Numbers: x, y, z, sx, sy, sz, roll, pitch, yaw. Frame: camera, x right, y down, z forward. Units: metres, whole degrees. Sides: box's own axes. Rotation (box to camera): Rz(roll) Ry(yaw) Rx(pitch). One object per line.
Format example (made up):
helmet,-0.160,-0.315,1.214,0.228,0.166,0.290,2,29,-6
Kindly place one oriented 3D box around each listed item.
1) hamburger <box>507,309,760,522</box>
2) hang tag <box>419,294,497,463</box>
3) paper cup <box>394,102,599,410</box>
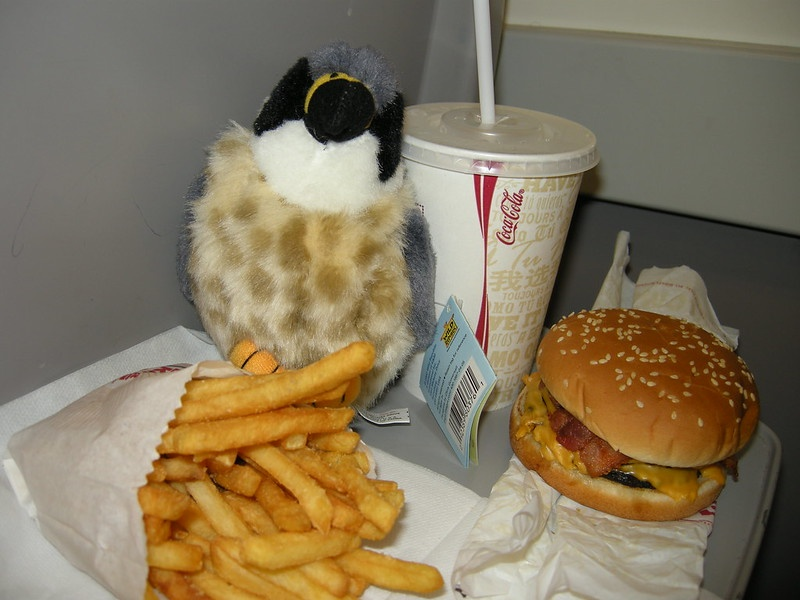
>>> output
hamburger,0.422,0.171,1.343,0.383,0.238,0.423,9,36,18
hang tag,0.097,0.123,1.255,0.027,0.205,0.194,-3,50,-24
paper cup,0.146,-0.176,1.533,0.411,0.592,0.426,7,28,-4
